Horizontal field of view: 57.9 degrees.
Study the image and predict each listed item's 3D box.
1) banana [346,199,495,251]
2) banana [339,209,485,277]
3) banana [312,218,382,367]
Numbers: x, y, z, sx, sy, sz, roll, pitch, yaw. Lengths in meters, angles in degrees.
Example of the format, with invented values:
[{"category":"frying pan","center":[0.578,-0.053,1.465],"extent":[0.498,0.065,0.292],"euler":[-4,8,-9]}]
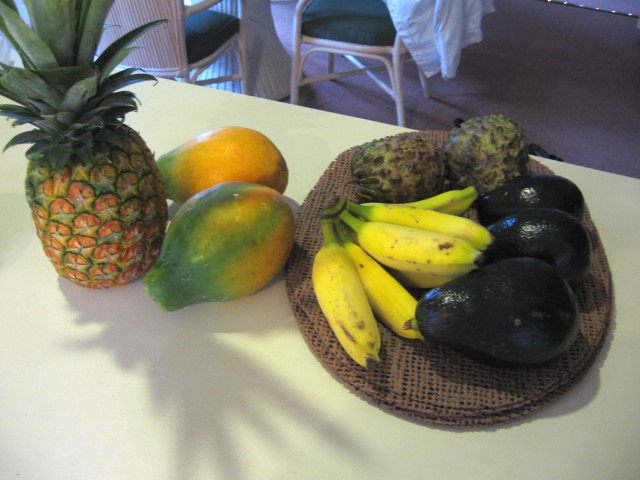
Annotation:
[{"category":"banana","center":[0.151,-0.024,0.868],"extent":[0.219,0.054,0.040],"euler":[15,76,33]},{"category":"banana","center":[0.127,0.008,0.828],"extent":[0.211,0.065,0.055],"euler":[13,44,13]},{"category":"banana","center":[0.030,0.074,0.818],"extent":[0.065,0.069,0.204],"euler":[-21,84,-18]}]
